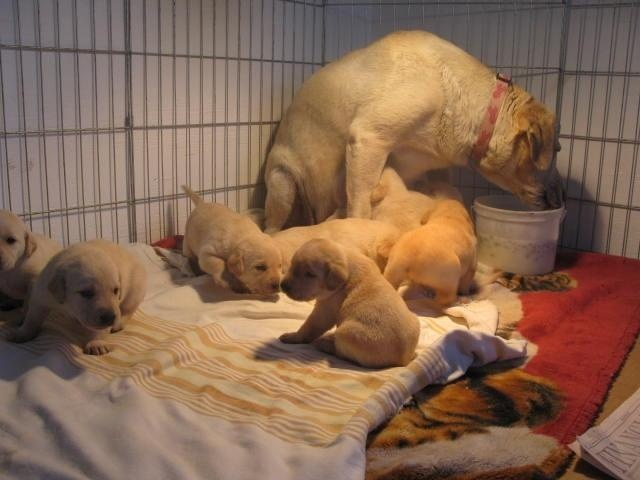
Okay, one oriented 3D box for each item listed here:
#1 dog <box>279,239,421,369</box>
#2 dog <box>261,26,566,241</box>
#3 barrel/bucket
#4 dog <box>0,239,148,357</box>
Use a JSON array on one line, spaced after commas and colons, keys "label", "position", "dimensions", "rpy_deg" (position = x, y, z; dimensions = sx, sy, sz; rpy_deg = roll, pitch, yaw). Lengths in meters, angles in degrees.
[{"label": "dog", "position": [0.201, 0.368, 3.083], "dimensions": [0.765, 0.665, 0.496], "rpy_deg": [23, 10, 23]}, {"label": "dog", "position": [0.729, -0.755, 4.746], "dimensions": [2.385, 1.901, 1.191], "rpy_deg": [-1, 2, 20]}, {"label": "barrel/bucket", "position": [1.522, -0.064, 4.263], "dimensions": [0.572, 0.530, 0.643], "rpy_deg": [-5, 18, 3]}, {"label": "dog", "position": [-1.286, 0.296, 2.911], "dimensions": [0.562, 0.545, 0.499], "rpy_deg": [8, 11, -1]}]
